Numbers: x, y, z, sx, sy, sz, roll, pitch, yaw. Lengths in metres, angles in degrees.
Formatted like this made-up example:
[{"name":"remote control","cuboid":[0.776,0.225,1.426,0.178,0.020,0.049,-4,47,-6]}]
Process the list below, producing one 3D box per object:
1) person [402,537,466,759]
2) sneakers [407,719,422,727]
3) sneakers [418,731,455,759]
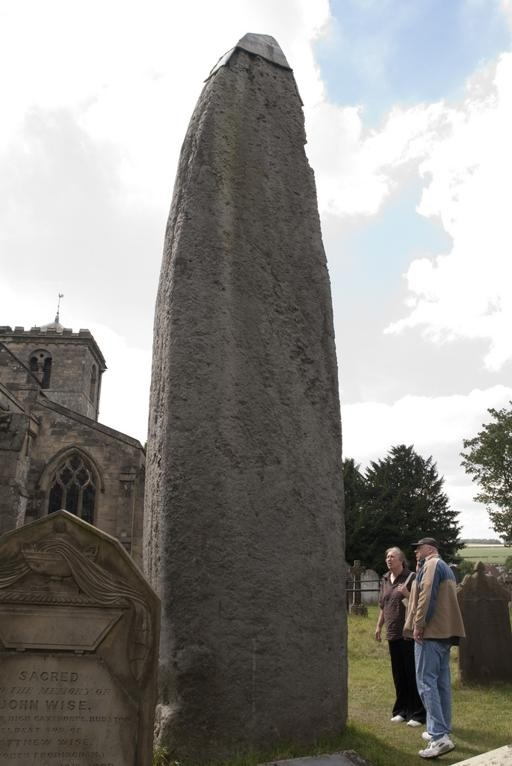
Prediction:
[{"name":"person","cuboid":[1.181,1.656,4.760,0.401,1.287,0.955,-5,-17,10]},{"name":"sneakers","cuboid":[1.087,2.341,4.989,0.047,0.035,0.114,9,3,33]},{"name":"sneakers","cuboid":[1.065,2.132,4.251,0.123,0.096,0.275,-16,-21,40]}]
